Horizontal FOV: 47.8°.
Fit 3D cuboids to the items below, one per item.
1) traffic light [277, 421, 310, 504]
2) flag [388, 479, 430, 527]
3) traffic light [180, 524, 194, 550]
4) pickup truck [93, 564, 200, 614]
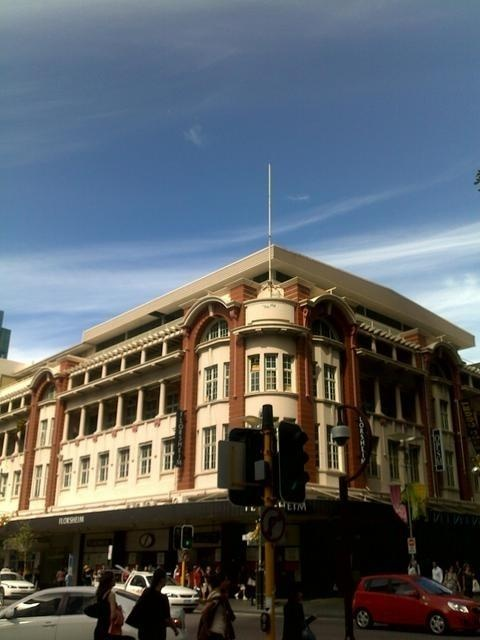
[{"bbox_3d":[0.520,1.357,5.308,0.302,0.798,0.441,-3,-23,6],"label":"traffic light"},{"bbox_3d":[9.315,10.220,30.684,1.095,2.834,2.261,12,-15,-34],"label":"flag"},{"bbox_3d":[-1.880,7.339,18.361,0.321,0.693,0.603,-17,-28,33],"label":"traffic light"},{"bbox_3d":[-4.053,10.163,20.927,3.157,1.044,1.252,4,-4,3],"label":"pickup truck"}]
